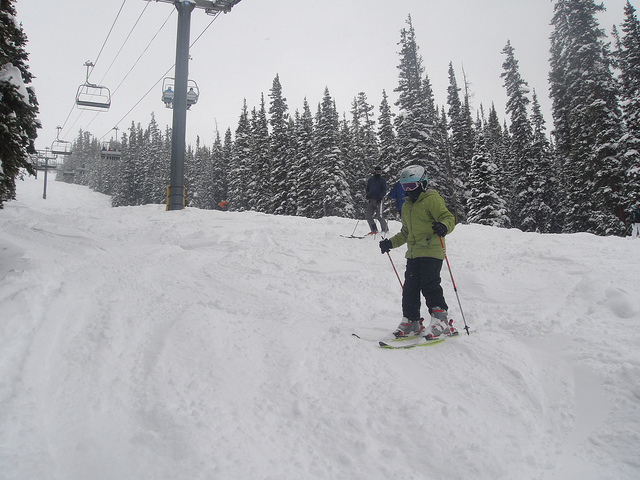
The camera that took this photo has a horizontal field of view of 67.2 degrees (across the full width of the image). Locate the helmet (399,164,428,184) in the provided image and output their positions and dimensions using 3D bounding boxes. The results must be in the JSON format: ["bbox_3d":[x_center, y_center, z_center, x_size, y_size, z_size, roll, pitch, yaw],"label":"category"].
[{"bbox_3d":[1.524,-1.063,7.840,0.355,0.318,0.262,22,4,-1],"label":"helmet"}]

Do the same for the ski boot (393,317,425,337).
[{"bbox_3d":[1.453,1.412,7.853,0.602,0.306,0.212,-7,-8,-19],"label":"ski boot"}]

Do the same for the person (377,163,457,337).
[{"bbox_3d":[1.649,0.240,7.855,0.711,2.780,1.385,-4,15,-33],"label":"person"}]
